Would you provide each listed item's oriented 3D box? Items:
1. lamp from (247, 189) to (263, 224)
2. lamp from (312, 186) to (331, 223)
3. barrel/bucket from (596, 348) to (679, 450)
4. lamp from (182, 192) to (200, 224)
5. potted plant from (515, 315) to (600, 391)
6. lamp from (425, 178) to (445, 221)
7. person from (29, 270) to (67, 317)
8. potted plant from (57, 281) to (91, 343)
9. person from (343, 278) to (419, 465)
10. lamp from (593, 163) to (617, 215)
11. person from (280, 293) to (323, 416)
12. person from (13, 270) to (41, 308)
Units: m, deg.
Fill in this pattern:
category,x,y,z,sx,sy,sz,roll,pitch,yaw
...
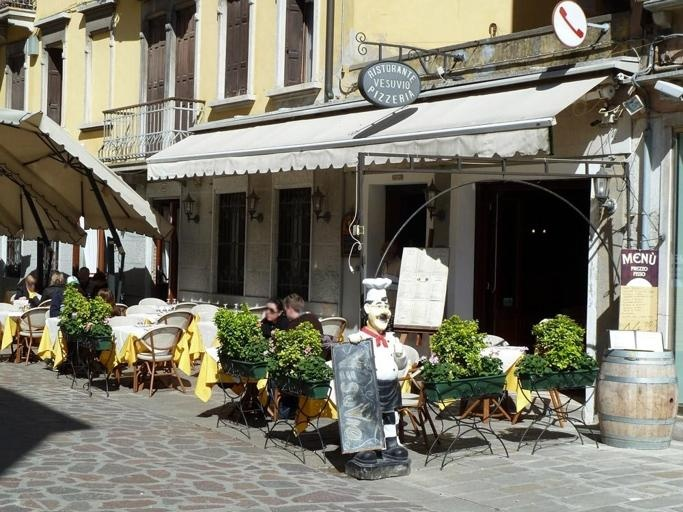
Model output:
category,x,y,z,sx,sy,sz,roll,pitch,yaw
lamp,-1.766,-0.994,17.050,0.190,0.630,0.497,-3,6,-42
lamp,-0.396,-0.951,15.657,0.240,0.648,0.497,-2,5,-31
barrel/bucket,3.479,1.646,10.076,0.981,1.158,0.964,1,-2,0
lamp,-3.333,-1.064,18.750,0.207,0.660,0.508,-2,5,-36
potted plant,2.633,1.119,10.070,0.796,0.820,0.556,-2,10,-4
lamp,1.534,-0.918,13.835,0.324,0.679,0.317,3,5,28
person,-5.530,0.711,15.935,0.647,1.068,0.338,-2,14,-28
potted plant,-4.056,0.870,12.868,0.663,0.556,0.752,1,5,-27
person,0.475,1.190,9.150,0.651,1.862,0.648,2,4,23
lamp,3.652,-0.967,11.692,0.238,0.741,0.300,-1,2,38
person,-0.527,1.299,11.053,0.543,1.514,1.482,1,4,-2
person,-7.045,0.726,19.012,0.519,1.339,0.438,4,-12,-29
